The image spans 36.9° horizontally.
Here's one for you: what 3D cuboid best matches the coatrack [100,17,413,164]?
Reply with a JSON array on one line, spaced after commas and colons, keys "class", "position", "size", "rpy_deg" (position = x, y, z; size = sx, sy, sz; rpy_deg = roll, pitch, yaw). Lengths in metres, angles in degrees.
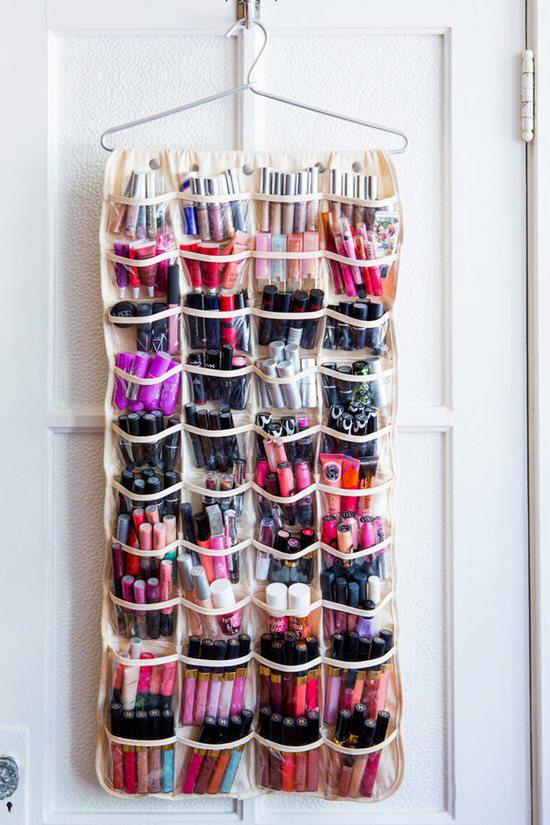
[{"class": "coatrack", "position": [-0.036, -0.527, 1.320], "size": [0.512, 0.242, 0.132], "rpy_deg": [-3, -2, -1]}]
